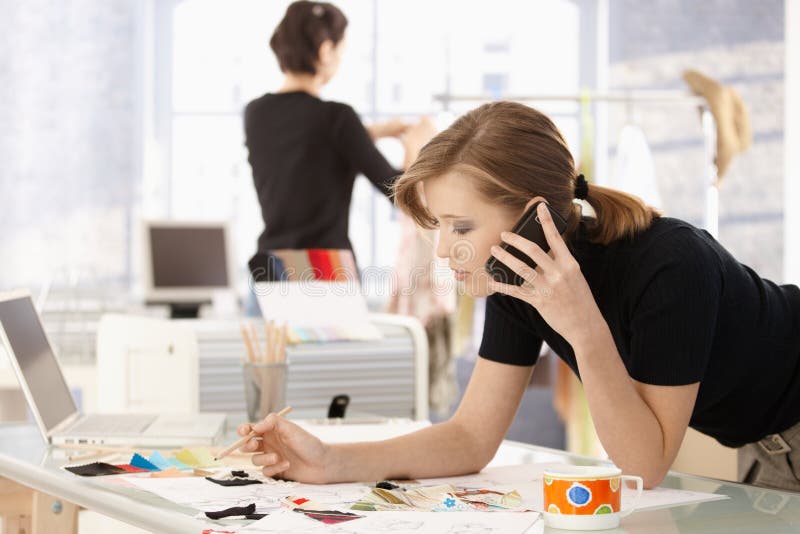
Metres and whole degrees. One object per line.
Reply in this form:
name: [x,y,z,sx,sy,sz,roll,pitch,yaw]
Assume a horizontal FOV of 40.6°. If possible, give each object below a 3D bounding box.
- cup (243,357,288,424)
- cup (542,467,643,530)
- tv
cup: [-0.389,0.350,3.159,0.165,0.243,0.157,-1,-8,0]
cup: [0.441,0.522,2.447,0.174,0.094,0.129,0,-7,-2]
tv: [-0.729,0.032,3.705,0.310,0.364,0.130,-1,-16,-4]
